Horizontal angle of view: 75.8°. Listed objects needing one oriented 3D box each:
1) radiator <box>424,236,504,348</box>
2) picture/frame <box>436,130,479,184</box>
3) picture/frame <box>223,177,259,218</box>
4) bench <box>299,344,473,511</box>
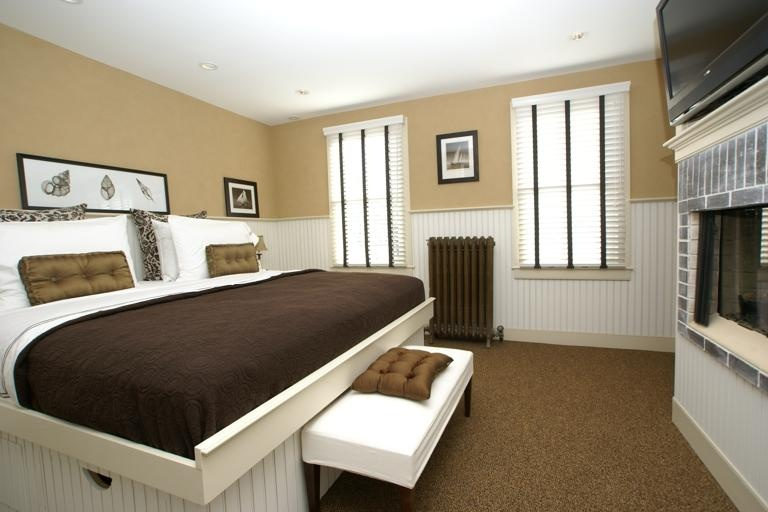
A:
[{"bbox_3d":[0.929,0.402,5.570,1.161,1.494,0.351,0,2,14],"label":"radiator"},{"bbox_3d":[0.861,-1.152,5.673,0.588,0.741,0.050,0,3,23],"label":"picture/frame"},{"bbox_3d":[-1.777,-0.723,6.074,0.035,0.471,0.525,-1,0,25],"label":"picture/frame"},{"bbox_3d":[-0.031,0.789,3.227,0.711,0.636,1.293,1,6,24],"label":"bench"}]
